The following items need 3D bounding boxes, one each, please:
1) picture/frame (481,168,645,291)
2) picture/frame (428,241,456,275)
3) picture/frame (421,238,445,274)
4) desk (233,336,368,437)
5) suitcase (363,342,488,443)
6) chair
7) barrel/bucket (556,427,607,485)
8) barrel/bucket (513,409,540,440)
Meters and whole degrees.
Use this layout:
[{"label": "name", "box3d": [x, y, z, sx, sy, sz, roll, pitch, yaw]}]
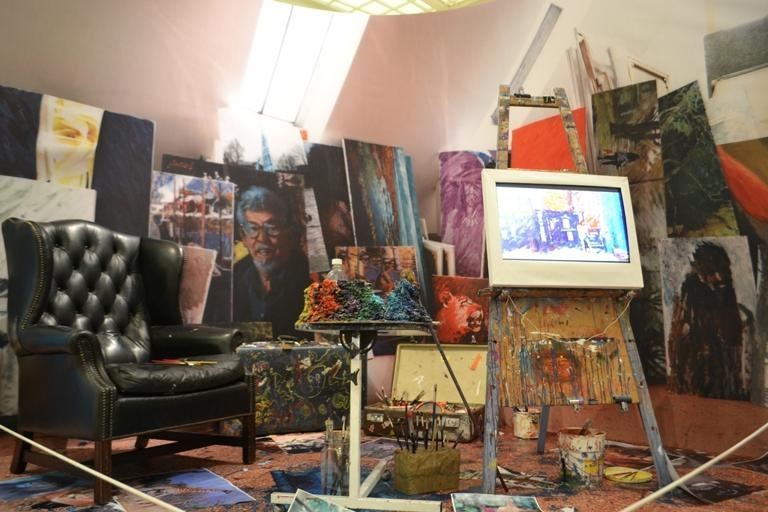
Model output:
[{"label": "picture/frame", "box3d": [1.162, -0.163, 3.693, 1.045, 0.738, 0.108, 2, -21, -7]}, {"label": "picture/frame", "box3d": [0.604, 0.040, 5.691, 0.144, 0.291, 0.317, -6, 9, -36]}, {"label": "picture/frame", "box3d": [0.506, 0.017, 5.706, 0.123, 0.326, 0.329, -11, 10, -22]}, {"label": "desk", "box3d": [-0.750, 0.867, 5.023, 1.281, 0.978, 0.679, 2, -3, -24]}, {"label": "suitcase", "box3d": [0.476, 1.130, 5.040, 0.973, 0.796, 0.729, -1, -11, 12]}, {"label": "chair", "box3d": [-1.622, 0.703, 4.648, 1.727, 2.365, 1.889, -8, -9, 33]}, {"label": "barrel/bucket", "box3d": [1.280, 1.322, 3.677, 0.331, 0.324, 0.302, 2, 0, 0]}, {"label": "barrel/bucket", "box3d": [1.195, 1.417, 4.711, 0.222, 0.183, 0.224, 0, -10, 0]}]
